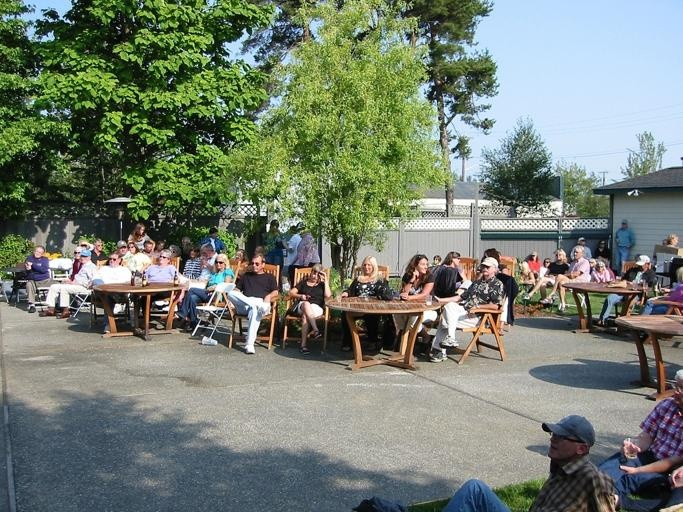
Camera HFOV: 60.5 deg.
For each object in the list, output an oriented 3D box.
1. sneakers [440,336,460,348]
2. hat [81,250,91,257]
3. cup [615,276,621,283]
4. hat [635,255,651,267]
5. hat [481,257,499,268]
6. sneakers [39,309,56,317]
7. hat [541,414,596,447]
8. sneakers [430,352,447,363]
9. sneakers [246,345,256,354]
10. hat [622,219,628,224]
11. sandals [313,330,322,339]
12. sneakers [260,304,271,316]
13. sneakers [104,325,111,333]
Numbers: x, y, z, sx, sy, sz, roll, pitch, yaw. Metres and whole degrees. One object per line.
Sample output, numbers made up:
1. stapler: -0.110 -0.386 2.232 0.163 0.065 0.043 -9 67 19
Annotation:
1. sneakers: 1.904 1.458 9.957 0.386 0.183 0.165 8 -14 -43
2. hat: -6.160 -0.039 14.151 0.145 0.108 0.210 23 8 30
3. cup: 6.960 0.601 14.747 0.093 0.186 0.097 0 10 0
4. hat: 7.361 0.117 14.292 0.345 0.214 0.566 1 8 30
5. hat: 2.685 0.131 10.495 0.251 0.137 0.173 19 -11 -37
6. sneakers: -7.050 1.385 14.045 0.392 0.159 0.224 5 -6 -35
7. hat: 1.698 1.283 4.357 0.337 0.190 0.229 6 -5 9
8. sneakers: 1.674 1.740 10.052 0.137 0.171 0.354 -3 -6 36
9. sneakers: -1.617 1.666 10.392 0.119 0.136 0.319 -1 -7 -15
10. hat: 11.325 -1.334 23.462 0.180 0.168 0.215 0 1 -6
11. sandals: -0.480 1.489 11.095 0.102 0.119 0.271 -3 -5 -17
12. sneakers: -1.399 0.990 10.834 0.164 0.161 0.207 0 -3 -6
13. sneakers: -4.782 1.508 11.934 0.124 0.057 0.181 1 20 -10
